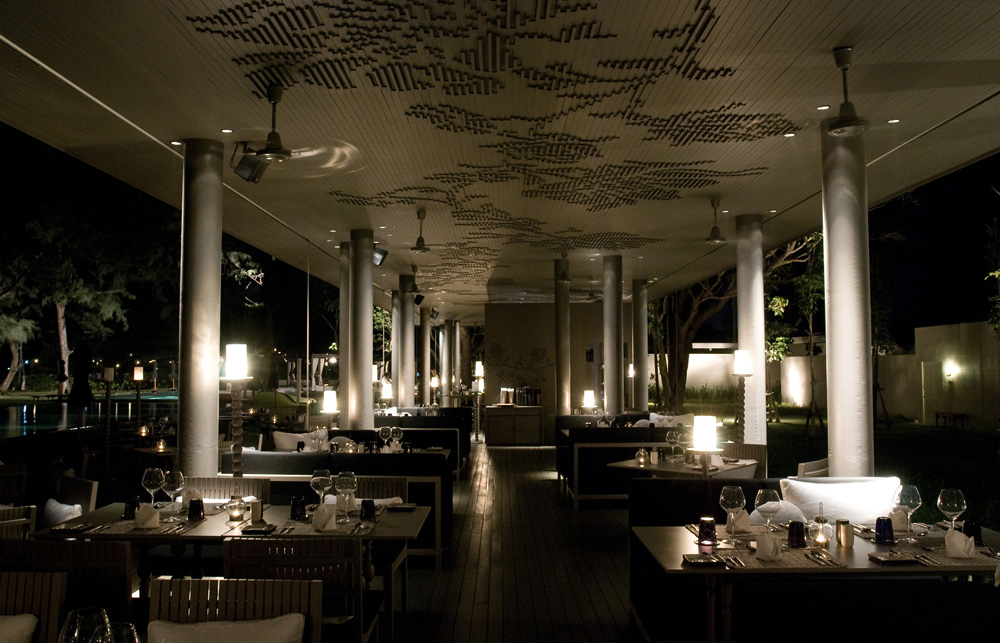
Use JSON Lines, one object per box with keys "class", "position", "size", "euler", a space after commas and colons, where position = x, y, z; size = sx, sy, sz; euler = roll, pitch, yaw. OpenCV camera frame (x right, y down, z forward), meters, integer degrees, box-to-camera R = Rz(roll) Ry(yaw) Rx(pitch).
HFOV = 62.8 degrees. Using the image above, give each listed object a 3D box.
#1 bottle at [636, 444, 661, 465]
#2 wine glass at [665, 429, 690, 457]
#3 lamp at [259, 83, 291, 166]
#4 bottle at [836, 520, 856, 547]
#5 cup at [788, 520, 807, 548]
{"class": "bottle", "position": [2.087, 1.871, 11.513], "size": [0.414, 0.401, 0.281], "euler": [1, -6, 11]}
{"class": "wine glass", "position": [2.586, 1.746, 11.825], "size": [0.384, 0.439, 0.385], "euler": [0, -1, 4]}
{"class": "lamp", "position": [-2.588, -2.094, 9.448], "size": [0.280, 0.675, 1.546], "euler": [1, -8, -15]}
{"class": "bottle", "position": [3.013, 1.839, 7.134], "size": [0.137, 0.218, 0.138], "euler": [-1, -8, 0]}
{"class": "cup", "position": [2.629, 1.855, 7.204], "size": [0.194, 0.229, 0.152], "euler": [-1, -8, -1]}
